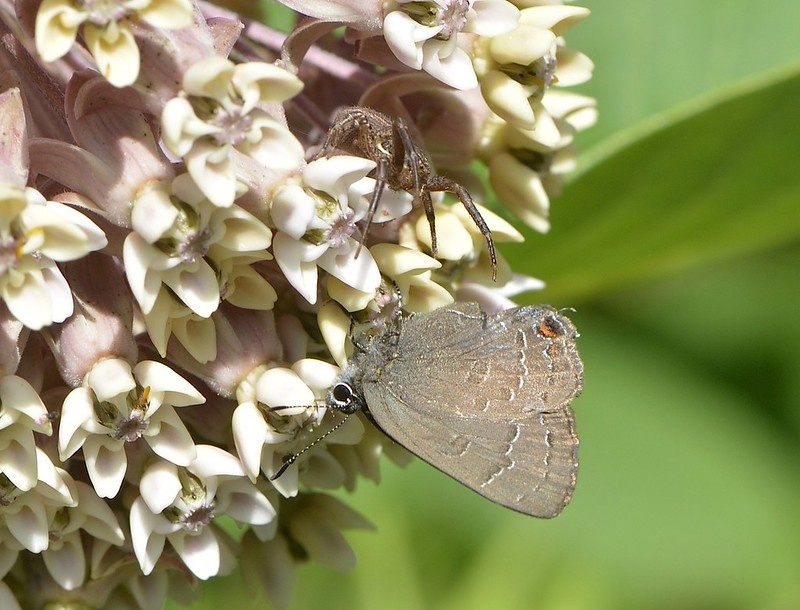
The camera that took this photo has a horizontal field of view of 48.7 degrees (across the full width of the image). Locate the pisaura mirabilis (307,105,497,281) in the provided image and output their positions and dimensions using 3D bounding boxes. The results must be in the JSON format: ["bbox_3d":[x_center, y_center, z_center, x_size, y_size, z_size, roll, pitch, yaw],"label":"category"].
[{"bbox_3d":[0.000,-0.126,0.633,0.137,0.118,0.165,3,-63,-1],"label":"pisaura mirabilis"}]
